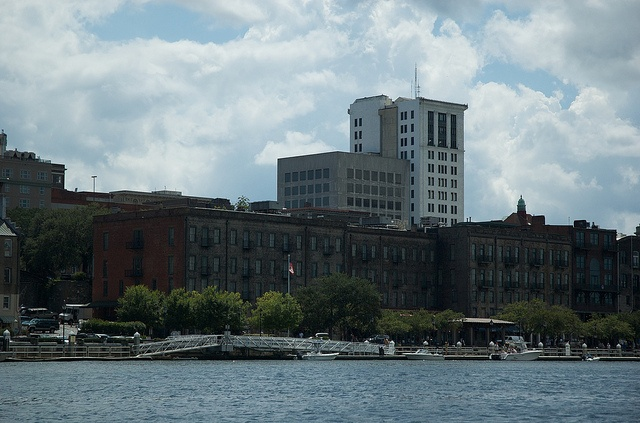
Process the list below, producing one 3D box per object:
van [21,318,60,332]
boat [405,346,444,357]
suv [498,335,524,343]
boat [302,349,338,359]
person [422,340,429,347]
[{"bbox_3d":[-46.499,19.130,228.238,5.122,2.526,2.987,1,-9,-9],"label":"van"},{"bbox_3d":[18.229,24.206,232.707,7.096,1.918,2.284,5,-8,-10],"label":"boat"},{"bbox_3d":[35.045,23.527,251.225,2.368,1.234,4.029,1,2,42],"label":"suv"},{"bbox_3d":[-0.044,23.770,223.971,5.893,1.625,1.953,0,-1,-7],"label":"boat"},{"bbox_3d":[18.534,23.025,237.372,1.047,1.162,1.058,2,-7,-11],"label":"person"}]
